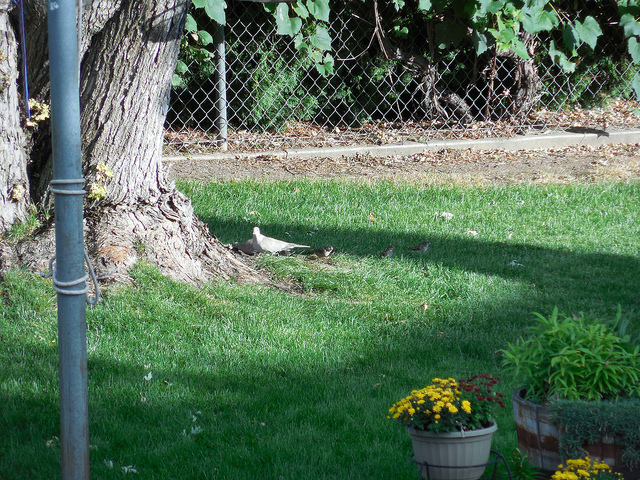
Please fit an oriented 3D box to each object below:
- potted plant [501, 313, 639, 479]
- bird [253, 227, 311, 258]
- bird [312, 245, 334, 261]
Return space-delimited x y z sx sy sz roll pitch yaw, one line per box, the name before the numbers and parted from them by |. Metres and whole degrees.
potted plant | 2.066 1.137 8.896 1.180 1.257 1.102 1 11 29
bird | -0.533 0.007 11.975 0.607 0.361 0.202 -10 -10 38
bird | 0.027 0.144 12.215 0.233 0.138 0.223 2 9 1
